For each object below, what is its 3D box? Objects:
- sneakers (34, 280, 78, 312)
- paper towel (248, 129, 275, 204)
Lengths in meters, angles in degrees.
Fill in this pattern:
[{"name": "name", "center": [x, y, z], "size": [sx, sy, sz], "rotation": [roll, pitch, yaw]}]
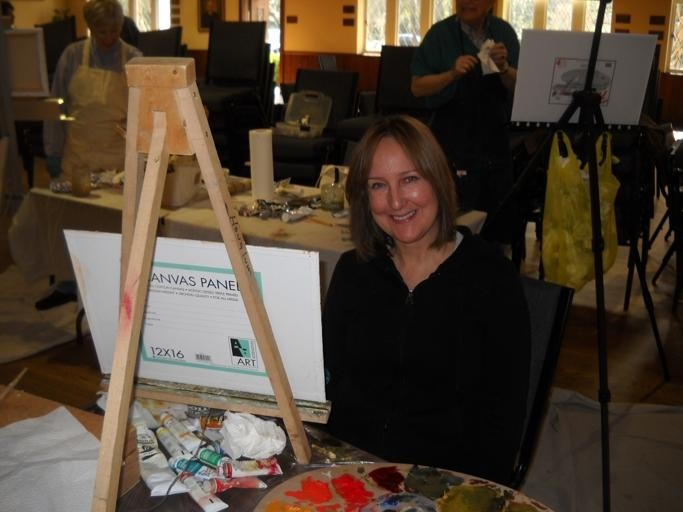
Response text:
[{"name": "sneakers", "center": [-1.793, 0.254, 3.840], "size": [0.145, 0.135, 0.248], "rotation": [26, 53, 36]}, {"name": "paper towel", "center": [-0.410, -0.479, 3.119], "size": [0.117, 0.355, 0.122], "rotation": [-12, 27, -26]}]
